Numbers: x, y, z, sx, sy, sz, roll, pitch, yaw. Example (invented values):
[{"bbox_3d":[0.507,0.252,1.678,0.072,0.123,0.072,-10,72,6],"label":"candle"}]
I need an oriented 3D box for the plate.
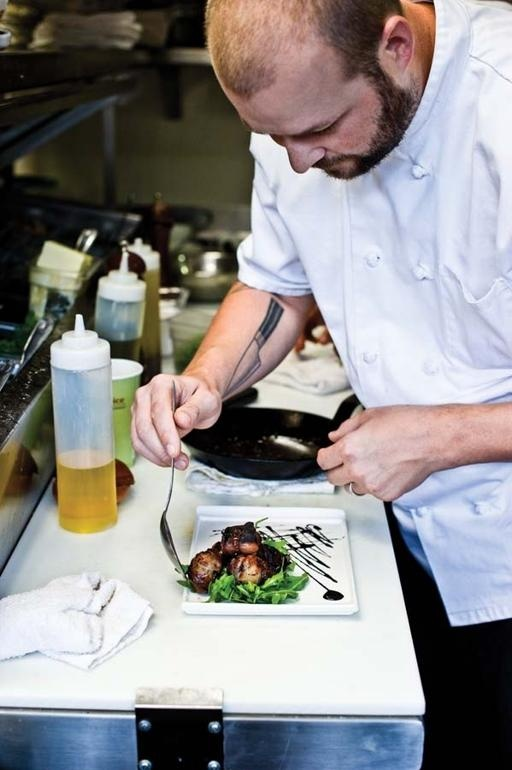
[{"bbox_3d":[0.021,0.224,0.907,0.227,0.068,0.288,-1,25,1],"label":"plate"}]

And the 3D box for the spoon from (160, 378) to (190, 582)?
[{"bbox_3d":[-0.115,0.148,0.871,0.045,0.311,0.042,-2,-9,6],"label":"spoon"}]
